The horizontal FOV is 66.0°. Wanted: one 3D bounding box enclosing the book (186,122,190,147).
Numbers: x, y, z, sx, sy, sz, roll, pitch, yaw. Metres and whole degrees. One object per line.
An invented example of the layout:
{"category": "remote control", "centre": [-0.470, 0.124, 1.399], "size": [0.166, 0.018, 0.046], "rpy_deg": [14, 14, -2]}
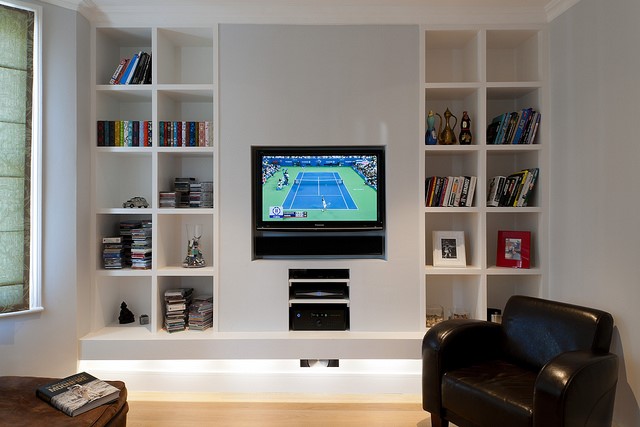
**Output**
{"category": "book", "centre": [-1.323, -0.787, 4.940], "size": [0.041, 0.175, 0.175], "rpy_deg": [2, 3, -12]}

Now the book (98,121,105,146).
{"category": "book", "centre": [-2.179, -0.795, 4.912], "size": [0.063, 0.209, 0.016], "rpy_deg": [0, 0, -14]}

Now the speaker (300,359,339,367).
{"category": "speaker", "centre": [-0.005, 1.506, 4.906], "size": [0.386, 0.067, 0.039], "rpy_deg": [0, 0, -1]}

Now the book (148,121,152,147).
{"category": "book", "centre": [-1.697, -0.787, 4.924], "size": [0.028, 0.204, 0.063], "rpy_deg": [-1, 0, -39]}

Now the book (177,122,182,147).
{"category": "book", "centre": [-1.405, -0.791, 4.940], "size": [0.048, 0.180, 0.015], "rpy_deg": [0, 0, 9]}

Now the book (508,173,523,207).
{"category": "book", "centre": [1.964, -0.235, 4.936], "size": [0.067, 0.256, 0.279], "rpy_deg": [9, 11, 20]}

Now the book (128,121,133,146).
{"category": "book", "centre": [-1.896, -0.795, 4.938], "size": [0.041, 0.173, 0.176], "rpy_deg": [1, -2, -11]}

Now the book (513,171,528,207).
{"category": "book", "centre": [2.005, -0.247, 4.921], "size": [0.066, 0.282, 0.287], "rpy_deg": [10, 12, 21]}

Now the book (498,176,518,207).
{"category": "book", "centre": [1.878, -0.212, 4.929], "size": [0.064, 0.259, 0.274], "rpy_deg": [11, 6, 15]}

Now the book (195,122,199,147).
{"category": "book", "centre": [-1.236, -0.796, 4.954], "size": [0.042, 0.176, 0.177], "rpy_deg": [2, 6, -9]}

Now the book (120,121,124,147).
{"category": "book", "centre": [-1.985, -0.793, 4.939], "size": [0.043, 0.211, 0.023], "rpy_deg": [0, 0, -8]}

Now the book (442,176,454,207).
{"category": "book", "centre": [1.278, -0.212, 4.928], "size": [0.054, 0.226, 0.224], "rpy_deg": [14, 21, 20]}

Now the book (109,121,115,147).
{"category": "book", "centre": [-2.081, -0.795, 4.930], "size": [0.049, 0.211, 0.026], "rpy_deg": [-1, 0, -21]}

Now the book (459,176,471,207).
{"category": "book", "centre": [1.447, -0.211, 4.928], "size": [0.056, 0.234, 0.235], "rpy_deg": [13, 10, 20]}

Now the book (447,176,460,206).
{"category": "book", "centre": [1.338, -0.216, 4.932], "size": [0.052, 0.222, 0.226], "rpy_deg": [13, 9, 27]}

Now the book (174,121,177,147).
{"category": "book", "centre": [-1.445, -0.790, 4.934], "size": [0.027, 0.192, 0.022], "rpy_deg": [-1, 0, -26]}

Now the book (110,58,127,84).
{"category": "book", "centre": [-2.019, -1.419, 4.939], "size": [0.159, 0.214, 0.105], "rpy_deg": [-1, 0, -22]}

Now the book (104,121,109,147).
{"category": "book", "centre": [-2.129, -0.789, 4.919], "size": [0.042, 0.215, 0.024], "rpy_deg": [-1, 0, -22]}

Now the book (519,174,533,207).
{"category": "book", "centre": [2.043, -0.223, 4.888], "size": [0.122, 0.316, 0.022], "rpy_deg": [0, 0, 23]}

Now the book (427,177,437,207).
{"category": "book", "centre": [1.125, -0.213, 4.935], "size": [0.093, 0.283, 0.014], "rpy_deg": [0, 0, 2]}

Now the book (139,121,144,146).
{"category": "book", "centre": [-1.786, -0.796, 4.936], "size": [0.056, 0.195, 0.016], "rpy_deg": [0, 0, 21]}

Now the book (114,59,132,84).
{"category": "book", "centre": [-1.940, -1.400, 4.931], "size": [0.050, 0.207, 0.207], "rpy_deg": [27, 4, -18]}

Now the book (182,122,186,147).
{"category": "book", "centre": [-1.362, -0.791, 4.937], "size": [0.042, 0.175, 0.173], "rpy_deg": [1, 7, -12]}

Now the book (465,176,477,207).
{"category": "book", "centre": [1.510, -0.217, 4.922], "size": [0.056, 0.227, 0.233], "rpy_deg": [13, 9, 19]}

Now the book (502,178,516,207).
{"category": "book", "centre": [1.893, -0.203, 4.925], "size": [0.051, 0.205, 0.209], "rpy_deg": [12, 5, 11]}

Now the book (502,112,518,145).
{"category": "book", "centre": [1.887, -0.845, 4.914], "size": [0.062, 0.266, 0.261], "rpy_deg": [16, 10, 7]}

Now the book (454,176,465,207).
{"category": "book", "centre": [1.393, -0.213, 4.925], "size": [0.054, 0.231, 0.235], "rpy_deg": [13, 5, 17]}

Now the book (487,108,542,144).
{"category": "book", "centre": [1.945, -0.861, 4.932], "size": [0.508, 0.346, 0.150], "rpy_deg": [0, 0, 21]}

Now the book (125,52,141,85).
{"category": "book", "centre": [-1.873, -1.432, 4.910], "size": [0.053, 0.221, 0.220], "rpy_deg": [17, -9, -19]}

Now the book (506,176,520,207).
{"category": "book", "centre": [1.934, -0.218, 4.930], "size": [0.061, 0.240, 0.251], "rpy_deg": [15, 24, 19]}
